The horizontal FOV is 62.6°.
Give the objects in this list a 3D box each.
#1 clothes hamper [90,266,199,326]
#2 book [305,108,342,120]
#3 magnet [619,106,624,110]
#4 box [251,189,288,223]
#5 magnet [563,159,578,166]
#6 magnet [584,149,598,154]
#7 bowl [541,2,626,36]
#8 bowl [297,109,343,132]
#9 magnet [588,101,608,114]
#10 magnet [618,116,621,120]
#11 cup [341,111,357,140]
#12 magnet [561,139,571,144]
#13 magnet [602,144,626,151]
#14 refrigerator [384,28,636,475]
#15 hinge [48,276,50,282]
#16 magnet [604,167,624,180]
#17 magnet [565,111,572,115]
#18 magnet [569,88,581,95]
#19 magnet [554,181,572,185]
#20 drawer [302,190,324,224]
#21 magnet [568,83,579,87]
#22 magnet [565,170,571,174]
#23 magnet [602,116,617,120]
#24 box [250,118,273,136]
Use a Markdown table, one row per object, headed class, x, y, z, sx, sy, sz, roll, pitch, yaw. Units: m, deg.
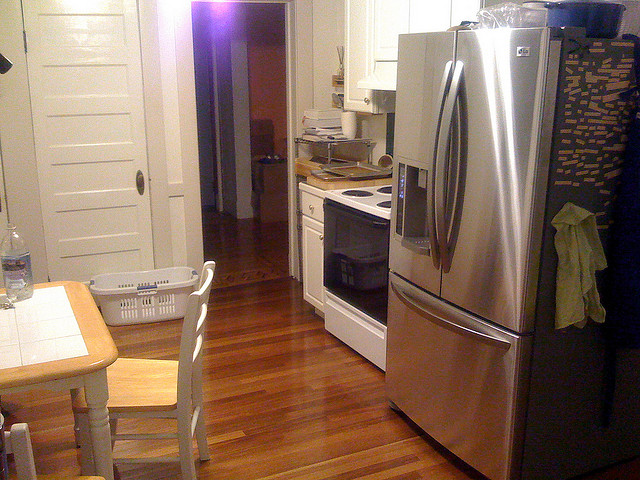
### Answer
| class | x | y | z | sx | sy | sz | roll | pitch | yaw |
| --- | --- | --- | --- | --- | --- | --- | --- | --- | --- |
| clothes hamper | -1.340 | 0.443 | 4.092 | 0.851 | 0.348 | 0.518 | -3 | 11 | -20 |
| book | 0.030 | -1.103 | 4.577 | 0.336 | 0.080 | 0.218 | -2 | 19 | 5 |
| magnet | 1.259 | -0.552 | 2.194 | 0.015 | 0.009 | 0.008 | -3 | 6 | -7 |
| box | -0.687 | -0.496 | 7.095 | 0.404 | 0.485 | 0.521 | -5 | 18 | -16 |
| magnet | 1.023 | -0.319 | 2.143 | 0.079 | 0.015 | 0.003 | -11 | 22 | -21 |
| magnet | 1.129 | -0.370 | 2.181 | 0.071 | 0.012 | 0.007 | 5 | 3 | -19 |
| bowl | 1.067 | -0.905 | 2.136 | 0.305 | 0.150 | 0.202 | 3 | 21 | 20 |
| bowl | 0.025 | -1.070 | 4.552 | 0.266 | 0.153 | 0.257 | 1 | 16 | 0 |
| magnet | 1.134 | -0.543 | 2.142 | 0.107 | 0.030 | 0.012 | 20 | 13 | -31 |
| magnet | 1.258 | -0.516 | 2.203 | 0.014 | 0.012 | 0.003 | 6 | 11 | 44 |
| cup | 0.251 | -0.966 | 4.391 | 0.133 | 0.230 | 0.157 | -4 | 20 | 2 |
| magnet | 0.996 | -0.398 | 2.117 | 0.044 | 0.022 | 0.005 | -13 | 22 | -25 |
| magnet | 1.252 | -0.390 | 2.227 | 0.125 | 0.032 | 0.015 | -12 | 22 | -22 |
| refrigerator | 0.814 | 0.078 | 2.464 | 1.102 | 2.030 | 0.714 | 14 | 27 | 40 |
| hinge | -2.183 | 0.321 | 4.238 | 0.020 | 0.032 | 0.019 | -1 | 9 | -15 |
| magnet | 1.261 | -0.288 | 2.249 | 0.125 | 0.036 | 0.007 | -23 | 13 | -22 |
| magnet | 0.992 | -0.506 | 2.091 | 0.022 | 0.014 | 0.005 | -2 | 8 | -2 |
| magnet | 1.012 | -0.590 | 2.083 | 0.056 | 0.016 | 0.004 | -12 | 22 | -24 |
| magnet | 0.998 | -0.234 | 2.147 | 0.080 | 0.014 | 0.005 | -1 | 3 | -18 |
| drawer | -0.044 | -0.258 | 4.000 | 0.158 | 0.150 | 0.250 | -2 | 15 | -22 |
| magnet | 1.003 | -0.614 | 2.074 | 0.055 | 0.017 | 0.005 | -12 | 22 | -23 |
| magnet | 1.015 | -0.281 | 2.146 | 0.022 | 0.013 | 0.004 | -3 | 12 | -2 |
| magnet | 1.201 | -0.507 | 2.183 | 0.076 | 0.012 | 0.008 | -3 | 9 | -22 |
| box | -0.796 | -1.539 | 7.137 | 0.412 | 0.262 | 0.219 | -7 | 17 | -31 |
